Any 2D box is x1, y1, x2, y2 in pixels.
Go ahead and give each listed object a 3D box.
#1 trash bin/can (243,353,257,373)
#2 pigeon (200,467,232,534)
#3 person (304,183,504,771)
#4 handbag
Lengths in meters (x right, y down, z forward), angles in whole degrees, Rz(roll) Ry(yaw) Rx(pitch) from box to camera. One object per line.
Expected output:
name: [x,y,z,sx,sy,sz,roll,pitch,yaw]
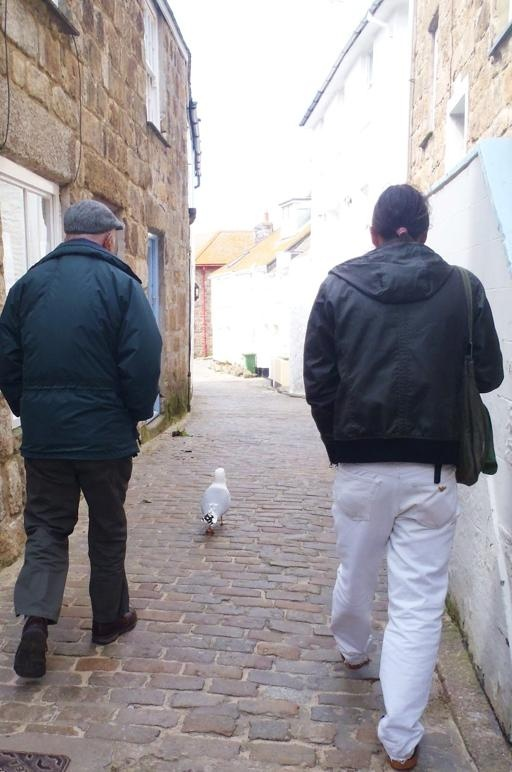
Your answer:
trash bin/can: [-0.228,-0.962,28.455,0.708,1.098,0.718,2,1,9]
pigeon: [-0.267,0.770,4.418,0.239,0.382,0.254,1,4,10]
person: [0.441,0.237,2.169,0.409,1.807,0.583,-2,4,-37]
handbag: [0.667,0.100,2.053,0.141,0.388,0.132,3,15,9]
